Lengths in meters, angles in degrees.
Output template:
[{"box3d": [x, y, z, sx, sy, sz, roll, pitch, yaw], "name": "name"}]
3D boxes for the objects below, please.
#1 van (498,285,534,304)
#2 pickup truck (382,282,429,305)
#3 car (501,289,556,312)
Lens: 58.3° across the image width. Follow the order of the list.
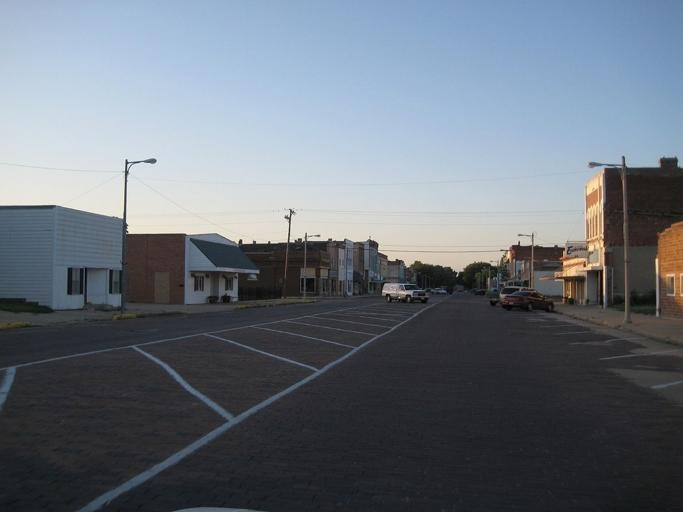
[{"box3d": [13.904, 3.276, 49.948, 1.381, 1.160, 3.425, -1, 0, 32], "name": "van"}, {"box3d": [6.547, 3.769, 61.768, 2.152, 1.595, 3.770, 3, -7, -40], "name": "pickup truck"}, {"box3d": [14.672, 3.532, 48.051, 3.782, 1.559, 2.967, 0, -1, 13], "name": "car"}]
